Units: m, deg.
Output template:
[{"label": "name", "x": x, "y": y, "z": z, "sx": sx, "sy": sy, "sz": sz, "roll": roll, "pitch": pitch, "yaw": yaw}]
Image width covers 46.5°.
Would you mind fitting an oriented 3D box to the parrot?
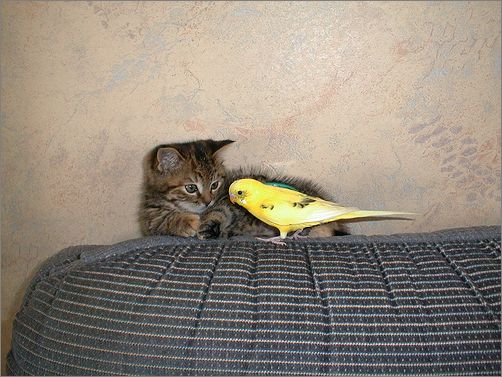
[{"label": "parrot", "x": 0.300, "y": 0.096, "z": 2.232, "sx": 0.802, "sy": 0.262, "sz": 0.197, "roll": 0, "pitch": 17, "yaw": 15}]
